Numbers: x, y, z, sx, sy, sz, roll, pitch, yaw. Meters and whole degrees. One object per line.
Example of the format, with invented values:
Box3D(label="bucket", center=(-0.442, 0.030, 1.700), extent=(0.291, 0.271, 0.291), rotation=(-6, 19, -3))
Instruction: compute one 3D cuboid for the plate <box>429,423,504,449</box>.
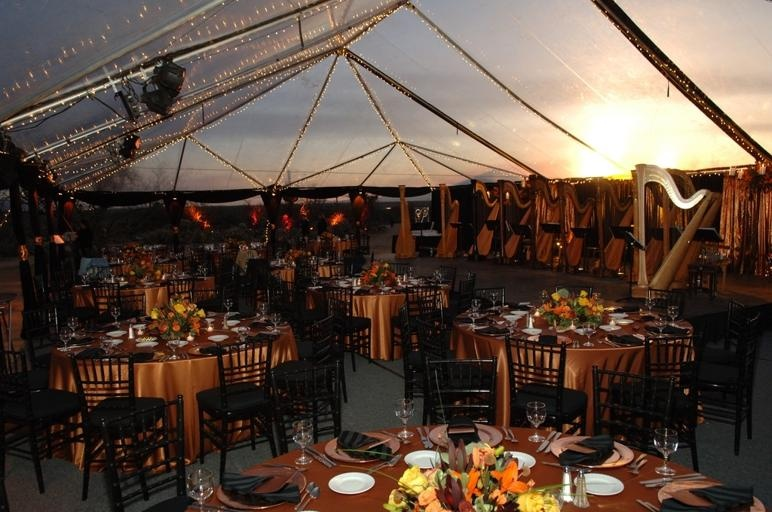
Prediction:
Box3D(label="plate", center=(0.706, 1.568, 4.861), extent=(0.689, 0.119, 0.428), rotation=(0, 0, -11))

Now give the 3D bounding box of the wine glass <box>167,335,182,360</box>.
Box3D(label="wine glass", center=(-2.570, 1.108, 6.725), extent=(0.145, 0.236, 0.450), rotation=(0, 0, -21))

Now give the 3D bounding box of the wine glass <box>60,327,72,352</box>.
Box3D(label="wine glass", center=(-4.041, 1.028, 6.967), extent=(0.135, 0.285, 0.344), rotation=(0, 0, -31))

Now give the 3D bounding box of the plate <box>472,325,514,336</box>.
Box3D(label="plate", center=(1.378, 0.963, 7.152), extent=(0.463, 0.096, 0.485), rotation=(0, 0, 12))

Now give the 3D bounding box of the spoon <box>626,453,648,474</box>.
Box3D(label="spoon", center=(2.089, 1.710, 4.568), extent=(0.078, 0.019, 0.270), rotation=(12, 14, 33))

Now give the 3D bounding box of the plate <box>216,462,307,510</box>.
Box3D(label="plate", center=(-0.983, 1.835, 4.388), extent=(0.356, 0.057, 0.387), rotation=(0, 0, 27))

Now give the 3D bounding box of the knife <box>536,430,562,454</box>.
Box3D(label="knife", center=(1.407, 1.602, 4.774), extent=(0.097, 0.018, 0.363), rotation=(-4, 13, 25))

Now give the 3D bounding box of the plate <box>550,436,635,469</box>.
Box3D(label="plate", center=(1.742, 1.641, 4.646), extent=(0.699, 0.184, 0.324), rotation=(0, 0, 12))

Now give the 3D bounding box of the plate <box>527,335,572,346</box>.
Box3D(label="plate", center=(2.039, 1.042, 6.824), extent=(0.550, 0.106, 0.466), rotation=(0, 0, 15))

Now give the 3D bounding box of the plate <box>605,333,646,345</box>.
Box3D(label="plate", center=(2.943, 1.029, 6.774), extent=(0.407, 0.113, 0.286), rotation=(0, 0, -6))

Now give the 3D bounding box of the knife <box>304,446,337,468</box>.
Box3D(label="knife", center=(-0.554, 1.701, 4.681), extent=(0.105, 0.044, 0.384), rotation=(-23, 21, -34))

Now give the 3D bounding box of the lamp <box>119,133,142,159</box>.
Box3D(label="lamp", center=(-5.572, -2.422, 11.980), extent=(0.351, 0.378, 0.643), rotation=(12, 5, -3))

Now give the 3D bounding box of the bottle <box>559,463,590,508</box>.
Box3D(label="bottle", center=(1.497, 1.785, 4.373), extent=(0.217, 0.301, 0.325), rotation=(0, 0, 17))

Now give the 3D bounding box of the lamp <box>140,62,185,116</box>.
Box3D(label="lamp", center=(-3.296, -2.543, 8.122), extent=(0.677, 0.753, 0.361), rotation=(0, 1, 25))

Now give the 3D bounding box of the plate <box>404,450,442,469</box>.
Box3D(label="plate", center=(0.301, 1.679, 4.597), extent=(0.322, 0.123, 0.217), rotation=(0, 0, 17))
